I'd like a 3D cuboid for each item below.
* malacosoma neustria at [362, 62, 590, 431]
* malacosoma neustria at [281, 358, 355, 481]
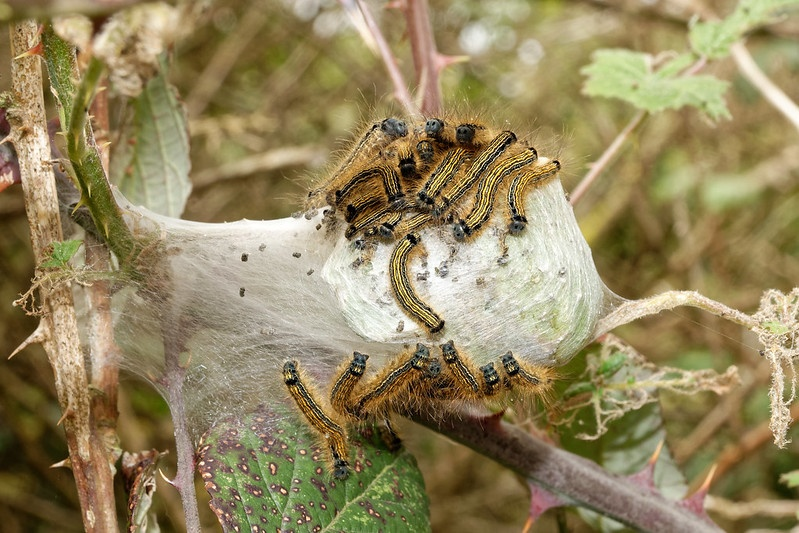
[{"bbox_3d":[0.297,-0.032,4.115,1.126,1.125,0.966,10,31,-11],"label":"malacosoma neustria"},{"bbox_3d":[-0.357,0.673,3.978,0.112,0.299,0.513,-17,43,-42],"label":"malacosoma neustria"}]
